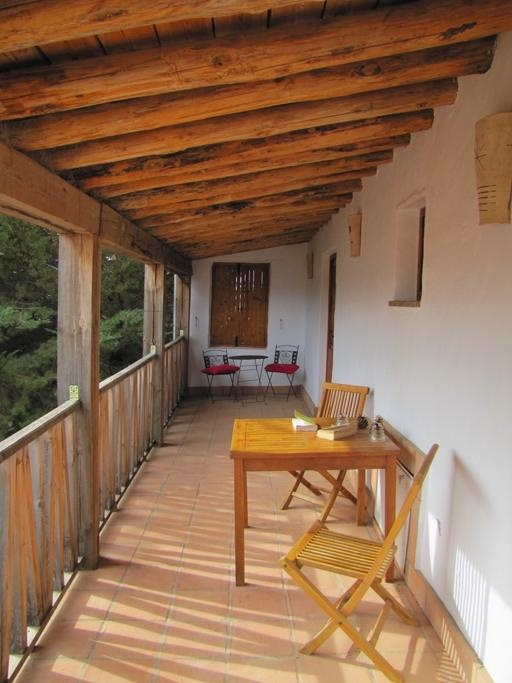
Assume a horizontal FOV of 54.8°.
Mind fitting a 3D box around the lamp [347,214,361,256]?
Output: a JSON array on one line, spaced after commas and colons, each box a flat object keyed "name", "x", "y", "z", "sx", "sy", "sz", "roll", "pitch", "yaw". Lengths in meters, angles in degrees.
[{"name": "lamp", "x": 0.903, "y": -0.986, "z": 4.524, "sx": 0.121, "sy": 0.427, "sz": 0.267, "roll": 2, "pitch": 3, "yaw": 10}]

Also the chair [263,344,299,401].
[{"name": "chair", "x": 0.427, "y": 0.507, "z": 8.255, "sx": 0.616, "sy": 0.823, "sz": 0.624, "roll": 7, "pitch": 9, "yaw": 42}]

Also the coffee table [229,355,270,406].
[{"name": "coffee table", "x": -0.090, "y": 0.601, "z": 8.358, "sx": 0.691, "sy": 0.808, "sz": 0.740, "roll": 0, "pitch": 15, "yaw": 0}]

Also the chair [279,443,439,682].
[{"name": "chair", "x": 0.457, "y": 1.065, "z": 2.702, "sx": 0.948, "sy": 1.372, "sz": 0.721, "roll": 3, "pitch": 4, "yaw": 18}]

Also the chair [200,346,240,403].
[{"name": "chair", "x": -0.567, "y": 0.505, "z": 7.932, "sx": 0.565, "sy": 0.725, "sz": 0.593, "roll": 3, "pitch": 6, "yaw": 41}]

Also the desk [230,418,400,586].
[{"name": "desk", "x": 0.306, "y": 0.838, "z": 2.970, "sx": 0.838, "sy": 0.732, "sz": 0.885, "roll": 0, "pitch": 4, "yaw": 0}]
